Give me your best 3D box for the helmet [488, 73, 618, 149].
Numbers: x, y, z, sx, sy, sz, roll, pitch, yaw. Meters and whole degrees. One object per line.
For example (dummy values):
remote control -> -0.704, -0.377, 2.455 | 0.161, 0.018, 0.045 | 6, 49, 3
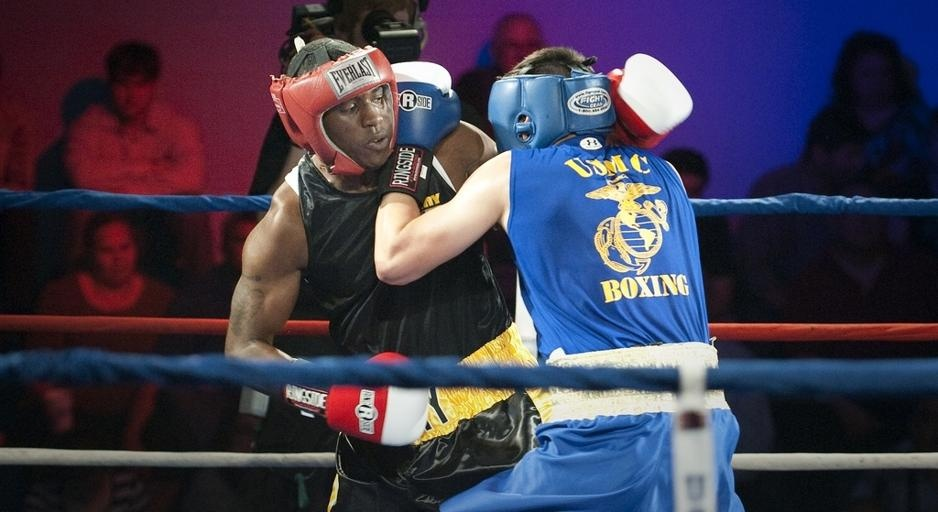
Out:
helmet -> 0.525, -0.923, 7.356 | 0.656, 0.397, 0.539 | 3, 7, 21
